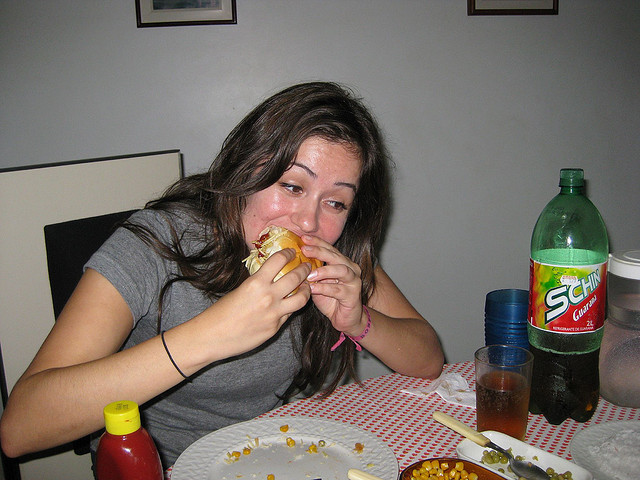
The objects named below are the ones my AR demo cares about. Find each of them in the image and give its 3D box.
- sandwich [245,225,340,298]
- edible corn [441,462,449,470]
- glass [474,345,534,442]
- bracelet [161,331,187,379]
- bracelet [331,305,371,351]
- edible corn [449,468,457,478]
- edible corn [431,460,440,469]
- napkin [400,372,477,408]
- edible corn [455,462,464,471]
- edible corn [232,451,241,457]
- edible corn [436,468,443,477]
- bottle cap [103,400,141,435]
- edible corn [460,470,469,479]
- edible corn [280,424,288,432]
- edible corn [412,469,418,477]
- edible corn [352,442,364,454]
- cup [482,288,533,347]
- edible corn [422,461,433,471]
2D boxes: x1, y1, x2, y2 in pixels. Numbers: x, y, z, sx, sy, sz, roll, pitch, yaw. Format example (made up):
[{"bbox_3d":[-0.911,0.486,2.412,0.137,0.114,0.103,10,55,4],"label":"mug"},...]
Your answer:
[{"bbox_3d":[-0.070,0.063,1.316,0.218,0.100,0.172,-24,14,30],"label":"sandwich"},{"bbox_3d":[0.255,0.466,1.020,0.014,0.010,0.010,-2,12,-3],"label":"edible corn"},{"bbox_3d":[0.444,0.366,1.195,0.125,0.208,0.127,-4,15,8],"label":"glass"},{"bbox_3d":[-0.345,0.271,1.153,0.061,0.107,0.030,7,14,34],"label":"bracelet"},{"bbox_3d":[0.100,0.269,1.482,0.113,0.137,0.034,30,5,11],"label":"bracelet"},{"bbox_3d":[0.270,0.476,1.009,0.011,0.004,0.012,-35,14,26],"label":"edible corn"},{"bbox_3d":[0.237,0.463,1.023,0.012,0.015,0.013,0,9,28],"label":"edible corn"},{"bbox_3d":[0.344,0.404,1.400,0.201,0.032,0.188,4,12,23],"label":"napkin"},{"bbox_3d":[0.284,0.464,1.017,0.015,0.012,0.012,-33,-6,-6],"label":"edible corn"},{"bbox_3d":[-0.187,0.479,1.108,0.010,0.004,0.011,12,17,7],"label":"edible corn"},{"bbox_3d":[0.244,0.477,1.014,0.011,0.012,0.006,1,-13,8],"label":"edible corn"},{"bbox_3d":[-0.368,0.327,0.933,0.056,0.040,0.057,8,2,42],"label":"bottle cap"},{"bbox_3d":[0.293,0.478,1.009,0.015,0.012,0.014,-1,12,3],"label":"edible corn"},{"bbox_3d":[-0.085,0.449,1.176,0.019,0.009,0.016,-4,12,-15],"label":"edible corn"},{"bbox_3d":[0.192,0.474,1.005,0.010,0.008,0.011,1,12,10],"label":"edible corn"},{"bbox_3d":[0.087,0.473,1.122,0.022,0.011,0.023,7,14,34],"label":"edible corn"},{"bbox_3d":[0.532,0.231,1.409,0.126,0.140,0.125,3,-15,1],"label":"cup"},{"bbox_3d":[0.222,0.466,1.016,0.012,0.016,0.007,-16,-27,-5],"label":"edible corn"}]
